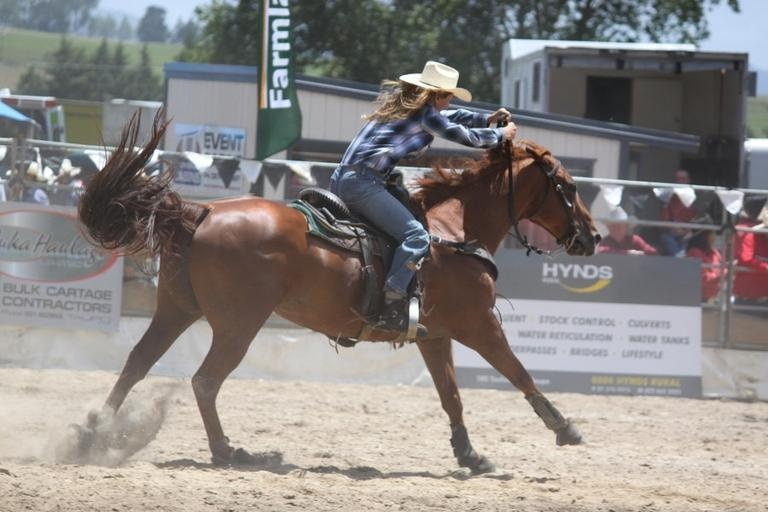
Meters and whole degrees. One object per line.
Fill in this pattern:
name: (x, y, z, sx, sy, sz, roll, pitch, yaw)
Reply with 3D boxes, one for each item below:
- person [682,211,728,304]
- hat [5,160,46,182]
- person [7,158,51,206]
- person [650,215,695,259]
person: (5.170, 0.150, 22.254, 0.611, 1.127, 0.182, 6, -12, -17)
hat: (-5.713, -1.322, 22.119, 0.544, 0.229, 0.323, -2, 7, -17)
person: (-5.673, -1.156, 22.020, 0.780, 0.660, 0.269, 18, -10, -9)
person: (4.708, -0.245, 22.453, 0.809, 0.924, 0.565, -1, -10, 13)
